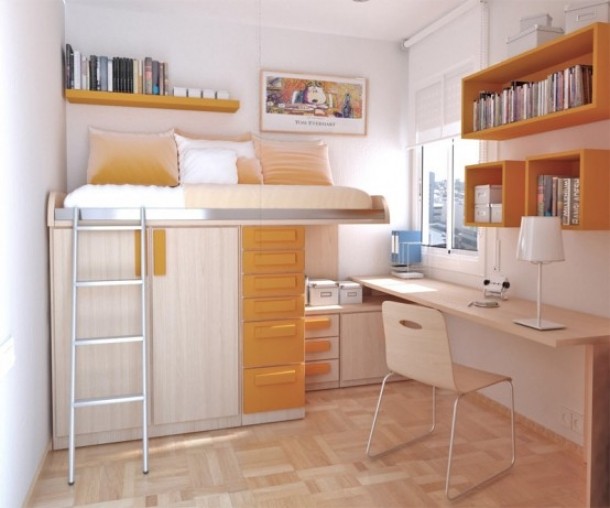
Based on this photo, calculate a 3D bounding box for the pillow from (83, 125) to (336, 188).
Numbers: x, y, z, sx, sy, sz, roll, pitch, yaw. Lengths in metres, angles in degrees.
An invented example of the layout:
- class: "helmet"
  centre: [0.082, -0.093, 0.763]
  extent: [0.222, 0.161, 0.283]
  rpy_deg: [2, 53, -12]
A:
- class: "pillow"
  centre: [-0.712, -0.753, 4.149]
  extent: [1.819, 0.462, 0.476]
  rpy_deg: [-4, 11, -13]

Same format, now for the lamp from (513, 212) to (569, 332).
- class: "lamp"
  centre: [1.340, 0.077, 3.042]
  extent: [0.259, 0.601, 0.600]
  rpy_deg: [2, 11, 16]

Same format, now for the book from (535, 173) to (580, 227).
- class: "book"
  centre: [1.441, -0.299, 3.024]
  extent: [0.109, 0.312, 0.331]
  rpy_deg: [2, -2, -22]

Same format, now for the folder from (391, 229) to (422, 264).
- class: "folder"
  centre: [0.859, -0.057, 4.717]
  extent: [0.259, 0.346, 0.352]
  rpy_deg: [0, 1, -6]

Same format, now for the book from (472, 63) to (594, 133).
- class: "book"
  centre: [1.353, -0.931, 3.238]
  extent: [0.114, 0.316, 0.879]
  rpy_deg: [-6, 12, -23]

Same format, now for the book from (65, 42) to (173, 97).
- class: "book"
  centre: [-1.395, -1.365, 3.961]
  extent: [0.723, 0.329, 0.065]
  rpy_deg: [-5, 12, -21]
